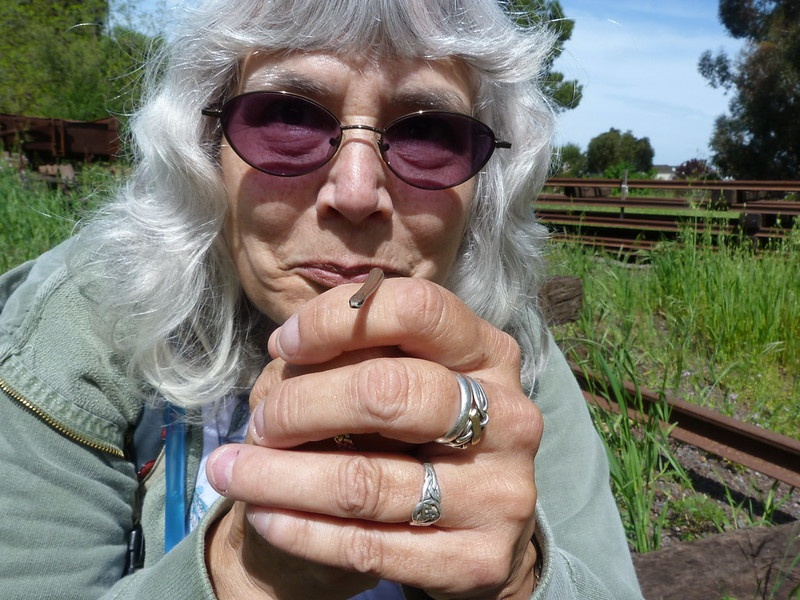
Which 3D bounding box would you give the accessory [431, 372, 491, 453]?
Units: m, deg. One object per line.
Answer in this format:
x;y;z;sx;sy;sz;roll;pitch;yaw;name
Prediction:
0.178;0.319;1.920;0.150;0.209;0.075;4;6;-4;accessory

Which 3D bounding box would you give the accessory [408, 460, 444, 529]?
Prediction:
0.075;0.546;1.875;0.044;0.138;0.099;9;-10;-16;accessory

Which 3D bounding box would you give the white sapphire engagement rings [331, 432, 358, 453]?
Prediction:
-0.168;0.424;2.031;0.057;0.063;0.021;-30;24;18;white sapphire engagement rings

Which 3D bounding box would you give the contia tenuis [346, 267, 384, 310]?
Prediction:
-0.093;-0.033;1.868;0.043;0.022;0.185;16;30;4;contia tenuis
